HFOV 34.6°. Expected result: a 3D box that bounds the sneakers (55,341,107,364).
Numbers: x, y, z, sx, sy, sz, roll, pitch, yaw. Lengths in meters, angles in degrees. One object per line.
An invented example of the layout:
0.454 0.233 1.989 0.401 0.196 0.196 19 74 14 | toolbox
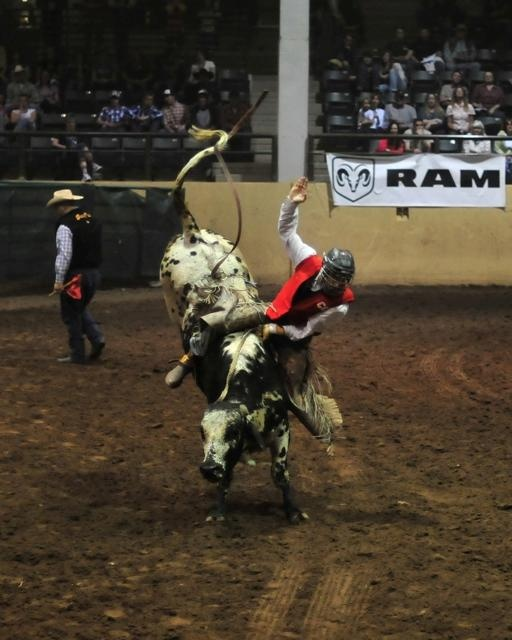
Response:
-2.014 0.394 9.750 0.759 0.263 0.209 2 0 -7 | sneakers

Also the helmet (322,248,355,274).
0.602 -0.422 5.796 0.183 0.165 0.217 -2 5 -29 | helmet

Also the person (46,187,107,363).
-2.081 -0.467 9.578 0.593 2.031 0.787 -1 16 -12 | person
